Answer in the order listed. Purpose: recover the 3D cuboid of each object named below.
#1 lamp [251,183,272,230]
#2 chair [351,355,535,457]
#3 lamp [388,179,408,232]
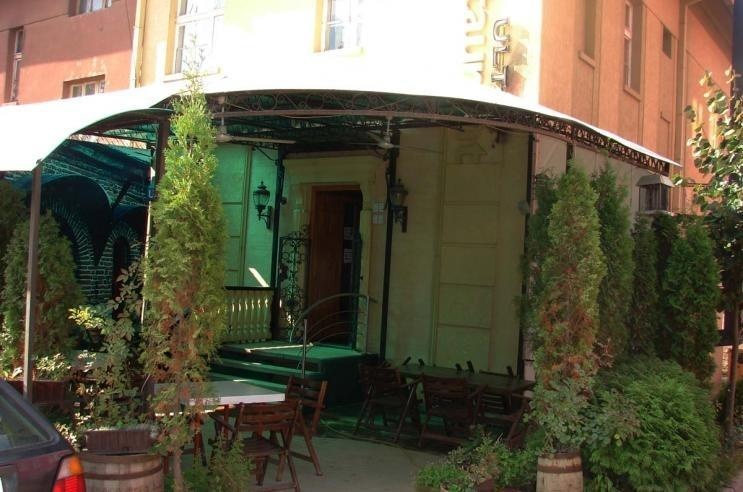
[{"bbox_3d":[-2.561,-0.949,14.941,0.469,1.088,0.468,-1,-6,15],"label":"lamp"},{"bbox_3d":[1.132,2.648,10.911,3.320,1.308,1.912,-5,-8,42],"label":"chair"},{"bbox_3d":[0.542,-0.848,13.334,0.367,1.124,0.409,0,-6,11],"label":"lamp"}]
